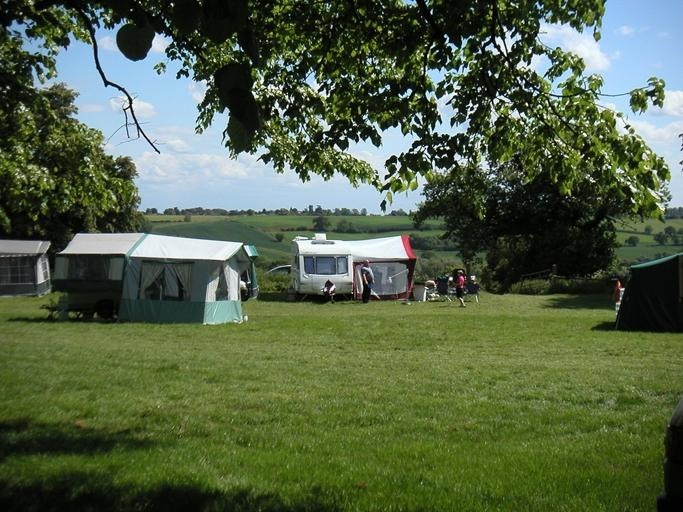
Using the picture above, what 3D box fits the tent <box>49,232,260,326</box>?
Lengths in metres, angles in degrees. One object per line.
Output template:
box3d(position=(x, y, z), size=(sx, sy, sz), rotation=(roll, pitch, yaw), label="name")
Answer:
box3d(position=(-6.441, 0.683, 21.700), size=(5.960, 3.024, 5.899), rotation=(0, 1, -2), label="tent")

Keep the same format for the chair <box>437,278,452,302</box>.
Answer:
box3d(position=(4.868, 1.591, 28.127), size=(0.838, 1.306, 0.903), rotation=(-1, 0, 9), label="chair")

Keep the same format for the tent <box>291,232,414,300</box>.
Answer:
box3d(position=(0.549, 0.470, 28.155), size=(5.602, 3.109, 2.383), rotation=(0, 1, -11), label="tent")

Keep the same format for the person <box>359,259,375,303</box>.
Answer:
box3d(position=(1.204, 1.118, 27.269), size=(0.598, 1.875, 1.456), rotation=(0, 1, 2), label="person")
